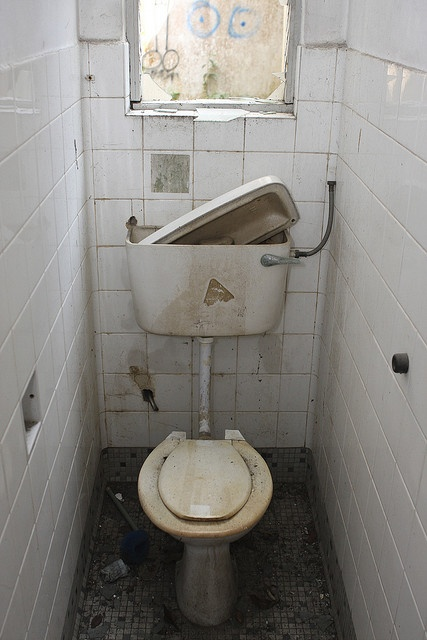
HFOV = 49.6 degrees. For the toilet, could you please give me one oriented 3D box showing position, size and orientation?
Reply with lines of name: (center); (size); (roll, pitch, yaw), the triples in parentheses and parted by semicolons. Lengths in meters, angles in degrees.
toilet: (-0.009, 0.312, 1.562); (0.384, 1.453, 0.664); (4, 25, 4)
